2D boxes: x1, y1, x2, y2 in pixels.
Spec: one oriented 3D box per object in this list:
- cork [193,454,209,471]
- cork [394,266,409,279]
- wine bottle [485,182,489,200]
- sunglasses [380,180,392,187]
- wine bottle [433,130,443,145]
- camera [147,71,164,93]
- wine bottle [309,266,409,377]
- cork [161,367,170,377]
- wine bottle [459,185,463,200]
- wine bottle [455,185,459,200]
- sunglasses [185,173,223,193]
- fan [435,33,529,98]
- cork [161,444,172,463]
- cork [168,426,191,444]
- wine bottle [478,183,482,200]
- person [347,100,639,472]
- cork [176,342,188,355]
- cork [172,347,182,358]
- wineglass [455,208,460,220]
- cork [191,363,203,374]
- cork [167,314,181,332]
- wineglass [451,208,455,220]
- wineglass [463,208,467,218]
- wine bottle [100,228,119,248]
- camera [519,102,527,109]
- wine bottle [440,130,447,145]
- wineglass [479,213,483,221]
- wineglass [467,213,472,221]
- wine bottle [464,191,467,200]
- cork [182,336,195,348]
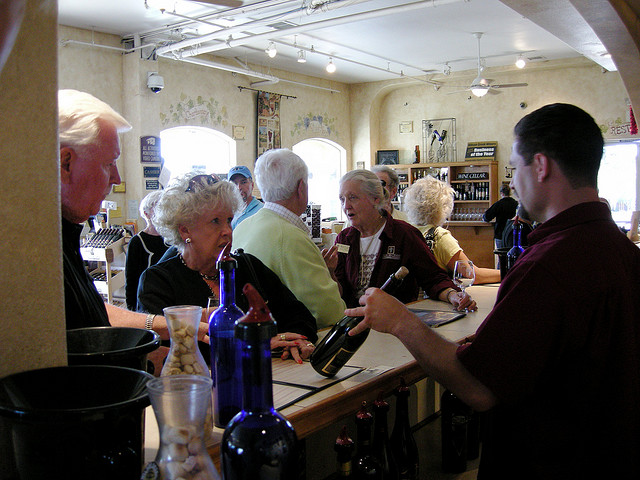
[{"bbox_3d":[-0.244,0.456,1.100,0.019,0.033,0.033,-2,-17,2],"label":"cork"},{"bbox_3d":[0.275,0.108,1.811,0.043,0.046,0.066,0,6,5],"label":"cork"},{"bbox_3d":[3.545,-1.057,11.338,0.069,0.356,0.135,0,6,6],"label":"wine bottle"},{"bbox_3d":[0.626,-0.527,5.039,0.100,0.034,0.100,2,1,13],"label":"sunglasses"},{"bbox_3d":[2.668,-2.349,12.077,0.075,0.286,0.073,-24,1,0],"label":"wine bottle"},{"bbox_3d":[-2.524,-2.418,8.198,0.281,0.394,0.272,-3,4,-33],"label":"camera"},{"bbox_3d":[0.163,0.334,2.209,0.140,0.508,0.134,36,20,-15],"label":"wine bottle"},{"bbox_3d":[-0.384,0.325,1.332,0.022,0.023,0.008,-5,-20,45],"label":"cork"},{"bbox_3d":[3.069,-1.042,11.604,0.066,0.281,0.123,1,6,13],"label":"wine bottle"},{"bbox_3d":[2.985,-1.036,11.623,0.080,0.269,0.185,1,6,14],"label":"wine bottle"},{"bbox_3d":[-0.552,-0.272,2.441,0.099,0.030,0.101,-23,3,35],"label":"sunglasses"},{"bbox_3d":[2.481,-2.758,8.331,1.272,0.940,1.257,-17,20,-26],"label":"fan"},{"bbox_3d":[-0.314,0.433,1.090,0.030,0.035,0.009,3,7,31],"label":"cork"},{"bbox_3d":[-0.284,0.395,1.086,0.036,0.037,0.014,33,15,-19],"label":"cork"},{"bbox_3d":[3.426,-1.058,11.416,0.077,0.343,0.120,1,6,14],"label":"wine bottle"},{"bbox_3d":[0.944,0.198,2.620,1.103,2.207,1.213,2,2,29],"label":"person"},{"bbox_3d":[-0.345,0.269,1.336,0.024,0.007,0.024,40,23,7],"label":"cork"},{"bbox_3d":[-0.358,0.279,1.334,0.023,0.024,0.006,1,6,12],"label":"cork"},{"bbox_3d":[2.975,-0.584,11.560,0.092,0.234,0.232,1,6,13],"label":"wineglass"},{"bbox_3d":[-0.307,0.320,1.341,0.017,0.027,0.008,-15,-3,-32],"label":"cork"},{"bbox_3d":[-0.360,0.202,1.325,0.034,0.037,0.036,-2,0,2],"label":"cork"},{"bbox_3d":[2.887,-0.572,11.583,0.067,0.211,0.178,1,6,14],"label":"wineglass"},{"bbox_3d":[3.123,-0.600,11.479,0.079,0.191,0.239,1,6,14],"label":"wineglass"},{"bbox_3d":[-2.412,-0.029,6.136,0.090,0.180,0.288,1,6,13],"label":"wine bottle"},{"bbox_3d":[4.228,-2.818,11.139,0.072,0.119,0.120,-5,27,48],"label":"camera"},{"bbox_3d":[2.789,-2.368,11.981,0.101,0.237,0.109,-1,6,0],"label":"wine bottle"},{"bbox_3d":[3.406,-0.505,11.287,0.063,0.152,0.135,1,6,16],"label":"wineglass"},{"bbox_3d":[3.207,-0.518,11.425,0.090,0.138,0.184,1,6,15],"label":"wineglass"},{"bbox_3d":[3.157,-0.970,11.557,0.052,0.146,0.079,1,6,13],"label":"wine bottle"},{"bbox_3d":[-0.327,0.254,1.341,0.027,0.026,0.006,-3,0,-36],"label":"cork"}]
